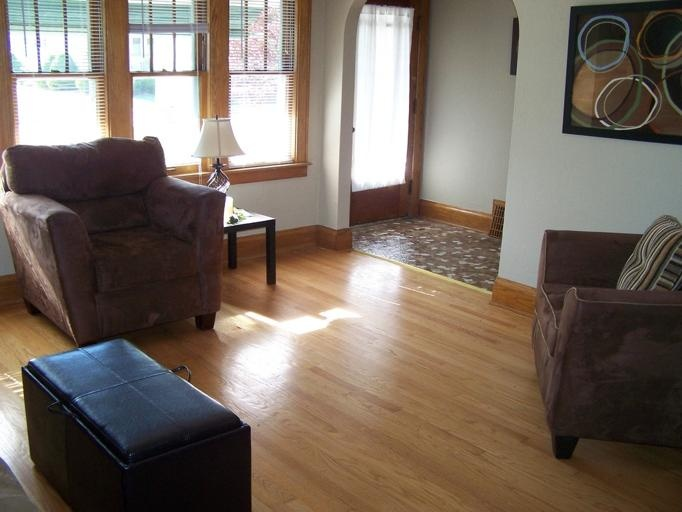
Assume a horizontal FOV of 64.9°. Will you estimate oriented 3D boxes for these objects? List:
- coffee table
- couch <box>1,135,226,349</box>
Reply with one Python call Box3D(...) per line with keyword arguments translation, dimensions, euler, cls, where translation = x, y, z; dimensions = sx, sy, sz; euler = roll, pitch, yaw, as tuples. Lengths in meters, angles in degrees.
Box3D(translation=(-0.815, -0.074, 4.664), dimensions=(0.430, 0.474, 0.443), euler=(-23, 37, -39), cls="coffee table")
Box3D(translation=(-1.527, -0.146, 3.807), dimensions=(1.454, 1.430, 1.449), euler=(-10, 22, -38), cls="couch")
